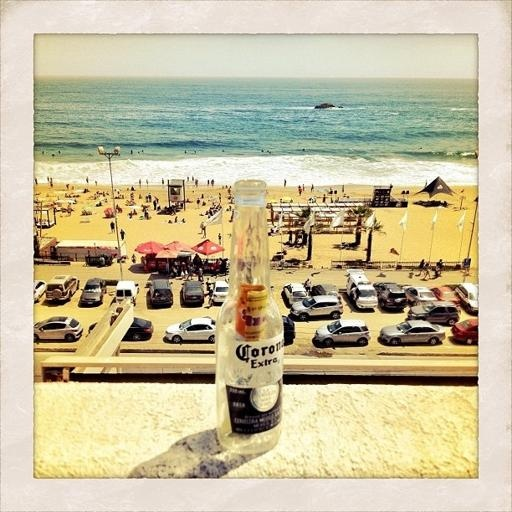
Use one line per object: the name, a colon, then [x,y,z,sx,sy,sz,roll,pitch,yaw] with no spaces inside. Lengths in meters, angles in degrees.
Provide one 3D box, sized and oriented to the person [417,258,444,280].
person: [7.685,0.650,25.252,1.003,0.512,0.986,1,22,8]
